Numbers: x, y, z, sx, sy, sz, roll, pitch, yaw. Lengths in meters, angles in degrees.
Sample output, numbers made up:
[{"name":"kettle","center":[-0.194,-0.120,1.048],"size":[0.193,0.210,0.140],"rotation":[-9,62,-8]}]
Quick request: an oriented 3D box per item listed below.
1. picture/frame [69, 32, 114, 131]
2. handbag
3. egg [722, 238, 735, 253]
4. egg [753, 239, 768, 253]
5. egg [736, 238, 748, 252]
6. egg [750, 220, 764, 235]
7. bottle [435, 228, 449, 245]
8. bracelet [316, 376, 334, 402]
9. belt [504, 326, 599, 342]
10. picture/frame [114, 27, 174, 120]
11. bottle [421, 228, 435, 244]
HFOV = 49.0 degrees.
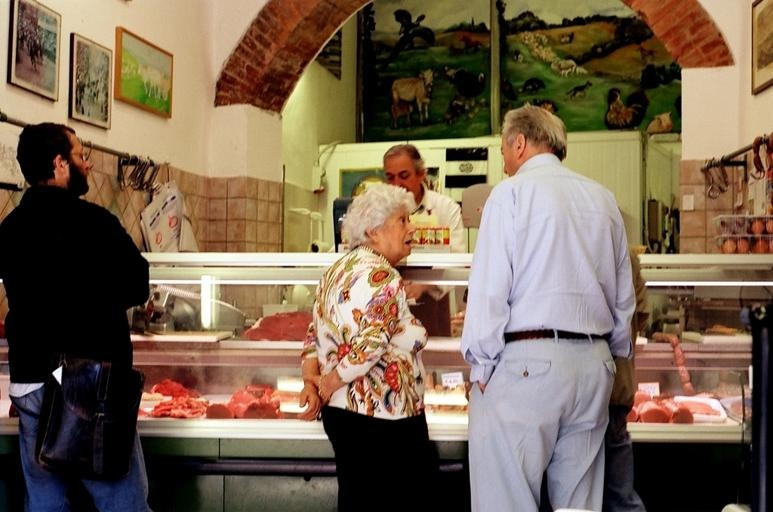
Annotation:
[{"name":"picture/frame","center":[-2.001,-1.160,5.707],"size":[0.077,0.417,0.408],"rotation":[0,0,16]},{"name":"handbag","center":[-1.348,0.772,4.025],"size":[0.465,0.570,0.240],"rotation":[11,11,5]},{"name":"egg","center":[1.931,-0.055,4.752],"size":[0.075,0.091,0.076],"rotation":[-3,1,-8]},{"name":"egg","center":[2.094,-0.051,4.720],"size":[0.077,0.081,0.079],"rotation":[2,-3,-6]},{"name":"egg","center":[1.995,-0.058,4.726],"size":[0.066,0.079,0.068],"rotation":[4,5,37]},{"name":"egg","center":[2.095,-0.159,4.758],"size":[0.074,0.126,0.075],"rotation":[1,-1,26]},{"name":"bottle","center":[0.293,-0.102,4.450],"size":[0.076,0.089,0.080],"rotation":[2,3,26]},{"name":"bracelet","center":[-0.288,0.617,3.964],"size":[0.088,0.126,0.041],"rotation":[3,0,36]},{"name":"belt","center":[0.761,0.363,3.826],"size":[0.450,0.058,0.083],"rotation":[0,1,-2]},{"name":"picture/frame","center":[-1.786,-1.320,6.122],"size":[0.069,0.581,0.694],"rotation":[-3,-6,22]},{"name":"bottle","center":[0.220,-0.102,4.501],"size":[0.090,0.094,0.068],"rotation":[2,-1,12]}]
